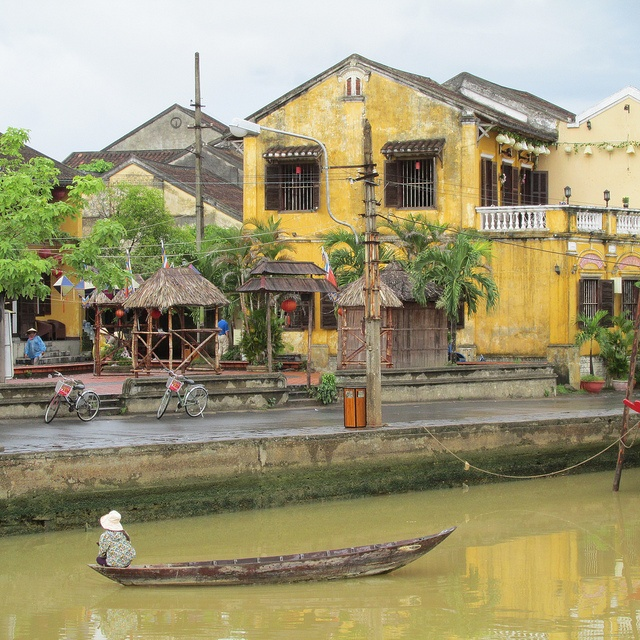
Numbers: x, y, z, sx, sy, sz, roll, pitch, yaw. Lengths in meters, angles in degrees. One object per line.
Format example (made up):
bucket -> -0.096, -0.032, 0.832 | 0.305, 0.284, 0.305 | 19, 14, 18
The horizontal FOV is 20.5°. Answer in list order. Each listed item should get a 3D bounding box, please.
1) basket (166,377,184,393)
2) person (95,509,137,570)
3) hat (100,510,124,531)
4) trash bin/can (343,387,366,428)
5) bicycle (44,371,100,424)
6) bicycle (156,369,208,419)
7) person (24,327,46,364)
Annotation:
basket -> -3.471, 1.595, 41.907 | 0.350, 0.421, 0.571 | -1, 14, -7
person -> -3.906, 4.139, 33.412 | 0.828, 1.402, 0.881 | -3, 6, -11
hat -> -3.926, 3.806, 33.228 | 0.396, 0.401, 0.261 | -1, 14, -8
trash bin/can -> 0.795, 1.979, 39.561 | 0.529, 0.912, 0.347 | -1, 14, -7
bicycle -> -5.806, 1.921, 41.319 | 0.768, 0.950, 1.359 | 7, -2, 40
bicycle -> -3.330, 1.813, 42.214 | 0.695, 0.947, 1.441 | 7, -6, 35
person -> -8.546, 0.824, 52.743 | 0.640, 1.468, 0.513 | -10, -24, 13
